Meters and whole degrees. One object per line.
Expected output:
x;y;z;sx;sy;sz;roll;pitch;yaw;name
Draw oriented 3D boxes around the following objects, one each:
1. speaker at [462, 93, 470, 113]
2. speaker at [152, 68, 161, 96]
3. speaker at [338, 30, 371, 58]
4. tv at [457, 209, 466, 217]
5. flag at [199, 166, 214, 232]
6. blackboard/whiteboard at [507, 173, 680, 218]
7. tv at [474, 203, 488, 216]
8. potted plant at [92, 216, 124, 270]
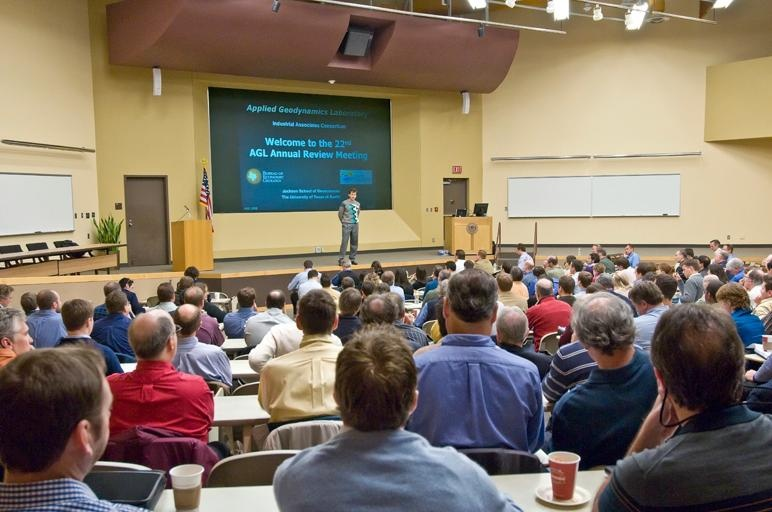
2.251;-4.327;16.058;0.230;0.587;0.620;0;4;9;speaker
-4.988;-3.814;12.456;0.203;0.583;0.318;-3;5;-24;speaker
-0.702;-5.025;13.420;0.698;0.537;0.705;-2;-27;-23;speaker
1.964;-1.136;14.761;0.233;0.157;0.315;0;4;7;tv
-4.084;-1.475;12.871;0.255;1.269;0.921;-2;4;-18;flag
5.961;-1.732;16.430;4.637;1.157;0.287;0;4;6;blackboard/whiteboard
2.439;-1.215;14.758;0.381;0.292;0.191;-9;9;-41;tv
-5.841;-0.448;12.266;0.407;0.826;0.494;-14;4;-41;potted plant
